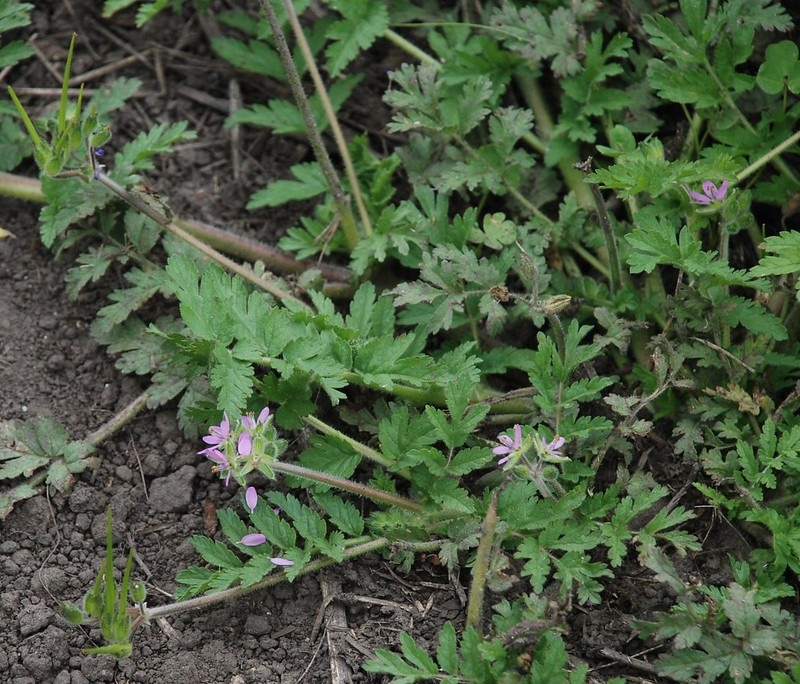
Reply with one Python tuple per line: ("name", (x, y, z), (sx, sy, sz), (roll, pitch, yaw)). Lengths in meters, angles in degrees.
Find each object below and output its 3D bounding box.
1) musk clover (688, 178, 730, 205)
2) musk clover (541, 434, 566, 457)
("musk clover", (1.191, -0.557, 2.942), (0.061, 0.121, 0.115), (56, 52, -24))
("musk clover", (0.519, 0.361, 2.623), (0.075, 0.075, 0.038), (-54, 124, -26))
